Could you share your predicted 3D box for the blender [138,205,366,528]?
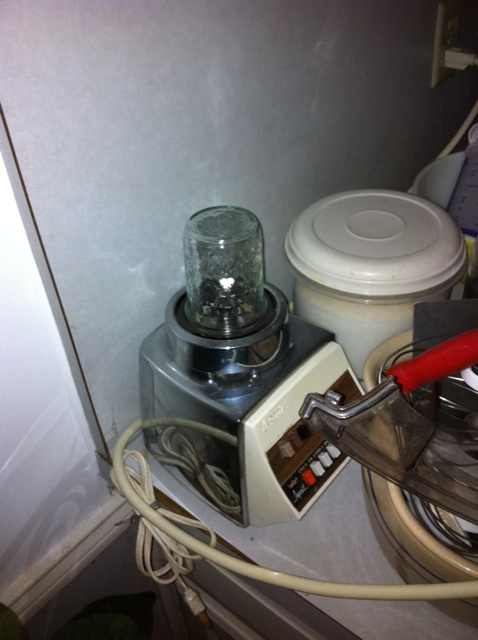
[{"bbox_3d":[0.018,0.058,0.667,0.310,0.363,0.260,18,40,27],"label":"blender"}]
